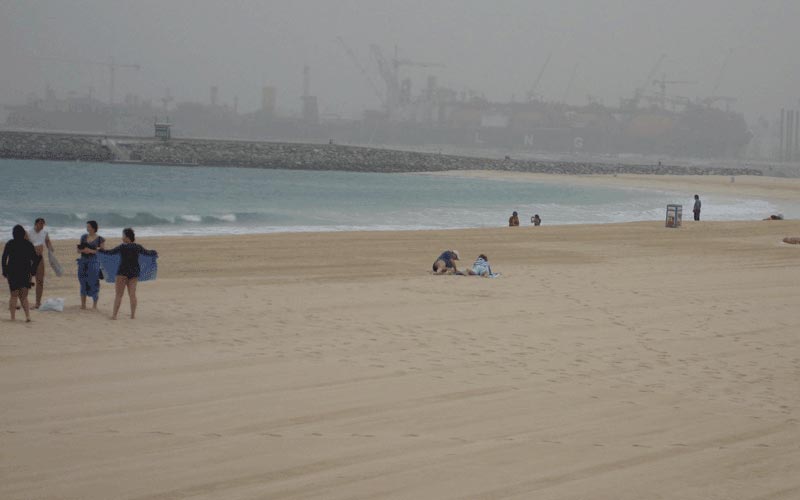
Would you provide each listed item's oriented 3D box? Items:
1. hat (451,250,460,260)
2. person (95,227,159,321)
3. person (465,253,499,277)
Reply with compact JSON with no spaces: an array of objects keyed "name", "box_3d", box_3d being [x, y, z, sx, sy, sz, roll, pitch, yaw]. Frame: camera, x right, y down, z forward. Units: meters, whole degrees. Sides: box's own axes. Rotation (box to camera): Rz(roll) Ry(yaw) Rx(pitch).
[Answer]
[{"name":"hat","box_3d":[1.309,0.122,25.607,0.114,0.203,0.157,-36,50,-13]},{"name":"person","box_3d":[-5.443,0.422,21.333,1.119,1.729,1.544,1,4,-16]},{"name":"person","box_3d":[1.957,0.325,24.616,0.689,0.719,0.537,9,-6,-26]}]
